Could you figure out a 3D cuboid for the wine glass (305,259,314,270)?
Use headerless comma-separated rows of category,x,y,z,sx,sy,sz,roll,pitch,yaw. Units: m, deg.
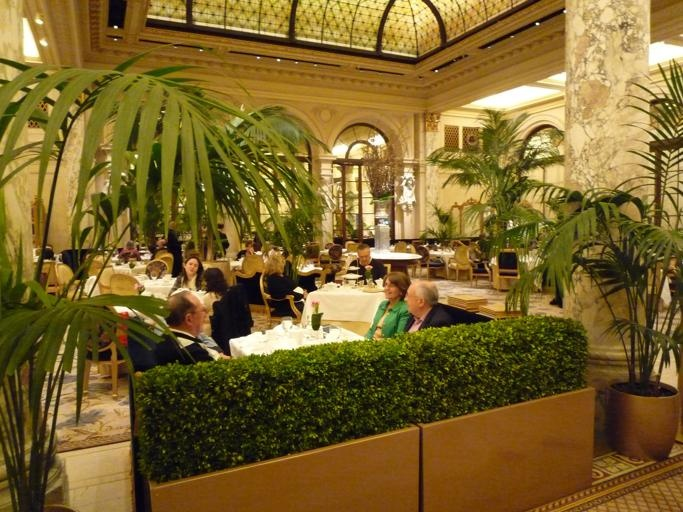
wine glass,-0.561,0.147,9.080,0.147,0.149,0.149,-4,-7,43
